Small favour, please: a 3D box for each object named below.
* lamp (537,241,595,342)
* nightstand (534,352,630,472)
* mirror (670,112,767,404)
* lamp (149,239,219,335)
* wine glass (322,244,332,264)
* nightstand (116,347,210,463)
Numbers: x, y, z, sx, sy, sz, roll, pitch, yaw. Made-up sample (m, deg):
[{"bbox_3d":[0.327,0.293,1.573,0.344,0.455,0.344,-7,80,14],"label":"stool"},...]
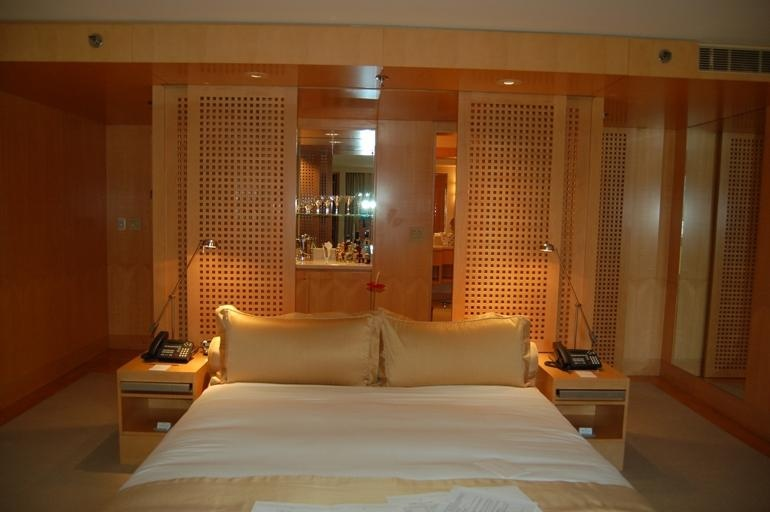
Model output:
[{"bbox_3d":[1.752,0.381,5.691,0.519,1.039,0.474,1,3,13],"label":"lamp"},{"bbox_3d":[1.601,1.398,5.552,0.759,1.105,0.886,0,4,0],"label":"nightstand"},{"bbox_3d":[3.668,-0.071,6.538,0.292,2.890,1.023,0,3,-15],"label":"mirror"},{"bbox_3d":[-1.861,0.262,5.532,0.560,0.846,0.382,0,3,-16],"label":"lamp"},{"bbox_3d":[-0.724,-0.043,7.534,0.116,0.245,0.140,0,3,-5],"label":"wine glass"},{"bbox_3d":[-1.984,1.244,5.518,1.032,1.216,0.783,0,2,-5],"label":"nightstand"}]
